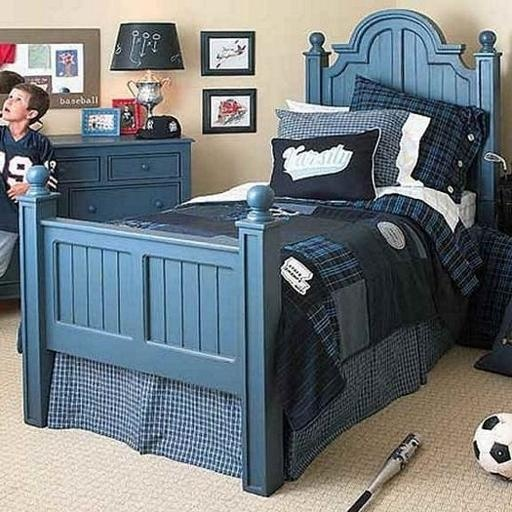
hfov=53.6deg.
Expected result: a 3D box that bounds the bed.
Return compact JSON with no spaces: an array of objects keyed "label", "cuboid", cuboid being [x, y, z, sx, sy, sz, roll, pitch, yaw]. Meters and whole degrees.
[{"label":"bed","cuboid":[0.186,-0.311,2.117,1.189,1.470,1.827,10,25,40]}]

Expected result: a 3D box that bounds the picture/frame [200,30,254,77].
[{"label":"picture/frame","cuboid":[-0.213,-1.405,3.463,0.371,0.256,0.024,-1,8,-9]}]

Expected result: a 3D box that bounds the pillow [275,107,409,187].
[{"label":"pillow","cuboid":[0.437,-0.552,2.677,0.896,0.452,0.254,-9,9,-30]}]

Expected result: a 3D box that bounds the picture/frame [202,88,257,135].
[{"label":"picture/frame","cuboid":[-0.201,-1.033,3.543,0.368,0.268,0.026,-1,9,-8]}]

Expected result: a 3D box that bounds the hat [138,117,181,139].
[{"label":"hat","cuboid":[-0.596,-0.797,3.149,0.228,0.104,0.149,-4,16,-8]}]

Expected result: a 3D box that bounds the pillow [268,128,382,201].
[{"label":"pillow","cuboid":[0.328,-0.445,2.517,0.622,0.326,0.140,6,2,35]}]

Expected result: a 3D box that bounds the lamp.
[{"label":"lamp","cuboid":[-0.699,-1.154,3.336,0.481,0.634,0.467,-15,22,-43]}]

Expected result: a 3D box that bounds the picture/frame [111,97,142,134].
[{"label":"picture/frame","cuboid":[-0.842,-0.945,3.386,0.263,0.238,0.067,-4,11,-17]}]
